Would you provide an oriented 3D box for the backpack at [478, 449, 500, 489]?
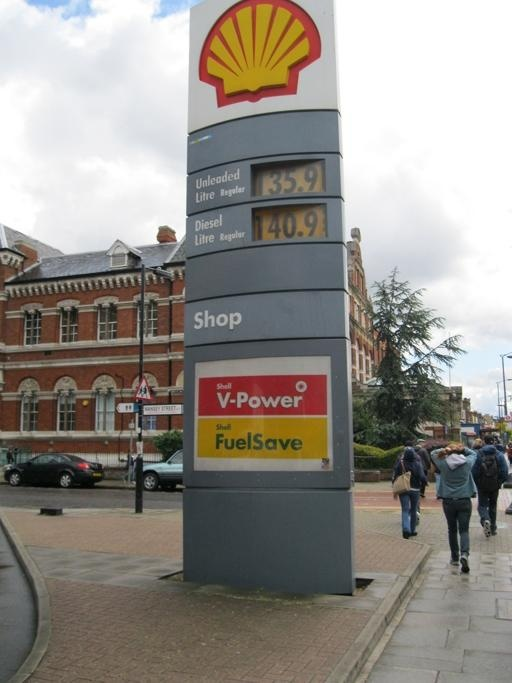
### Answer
[{"bbox_3d":[3.953,2.187,10.527,0.345,0.579,0.542,-1,-3,20],"label":"backpack"}]

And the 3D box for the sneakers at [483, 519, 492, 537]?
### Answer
[{"bbox_3d":[3.734,3.061,10.068,0.121,0.323,0.154,-5,38,16],"label":"sneakers"}]

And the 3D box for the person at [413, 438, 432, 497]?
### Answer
[{"bbox_3d":[4.220,3.077,15.057,0.528,1.287,0.503,-8,-14,17],"label":"person"}]

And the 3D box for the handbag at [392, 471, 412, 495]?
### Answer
[{"bbox_3d":[2.510,2.426,10.607,0.108,0.381,0.324,22,-33,-30],"label":"handbag"}]

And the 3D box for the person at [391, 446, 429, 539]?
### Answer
[{"bbox_3d":[2.655,2.633,10.796,0.531,1.579,1.285,-1,-3,16],"label":"person"}]

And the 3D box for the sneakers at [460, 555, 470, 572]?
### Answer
[{"bbox_3d":[2.481,2.677,7.408,0.087,0.230,0.102,-10,8,22],"label":"sneakers"}]
